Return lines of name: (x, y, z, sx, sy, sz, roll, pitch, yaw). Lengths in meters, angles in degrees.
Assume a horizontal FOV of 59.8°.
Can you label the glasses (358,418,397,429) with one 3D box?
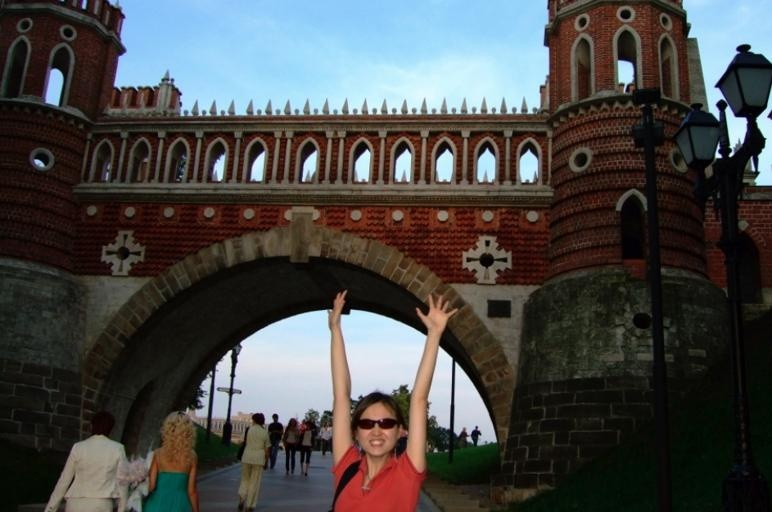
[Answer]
glasses: (-0.085, 1.808, 7.153, 0.414, 0.117, 0.097, -3, -16, 12)
